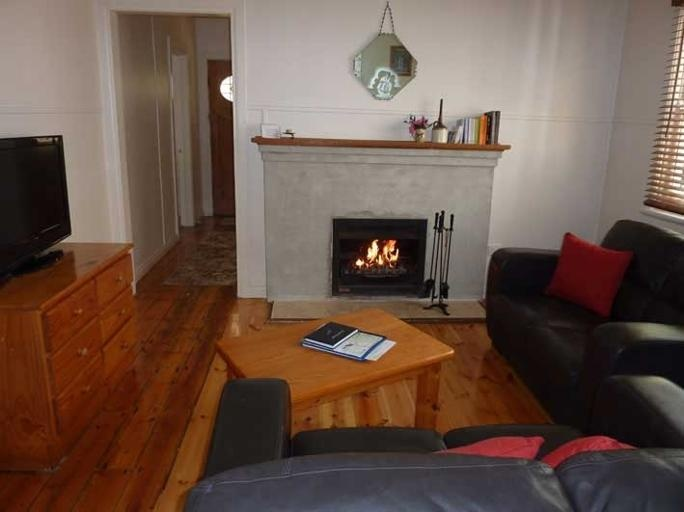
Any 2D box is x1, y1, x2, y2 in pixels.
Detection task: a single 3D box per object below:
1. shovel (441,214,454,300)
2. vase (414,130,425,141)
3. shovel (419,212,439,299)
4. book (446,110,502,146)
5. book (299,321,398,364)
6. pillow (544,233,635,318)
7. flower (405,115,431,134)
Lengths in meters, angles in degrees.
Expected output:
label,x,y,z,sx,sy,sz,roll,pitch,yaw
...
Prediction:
label,x,y,z,sx,sy,sz,roll,pitch,yaw
shovel,0.893,0.035,4.301,0.097,0.787,0.317,6,18,11
vase,0.625,-0.988,4.137,0.070,0.073,0.132,3,-19,6
shovel,0.756,0.005,4.339,0.118,0.745,0.158,5,18,9
book,1.076,-1.026,4.205,0.406,0.296,0.404,5,12,6
book,0.041,0.429,2.499,0.240,0.034,0.220,9,21,21
pillow,1.541,0.139,3.135,0.134,0.434,0.465,14,16,-30
flower,0.635,-1.066,4.211,0.179,0.132,0.182,2,11,-1
